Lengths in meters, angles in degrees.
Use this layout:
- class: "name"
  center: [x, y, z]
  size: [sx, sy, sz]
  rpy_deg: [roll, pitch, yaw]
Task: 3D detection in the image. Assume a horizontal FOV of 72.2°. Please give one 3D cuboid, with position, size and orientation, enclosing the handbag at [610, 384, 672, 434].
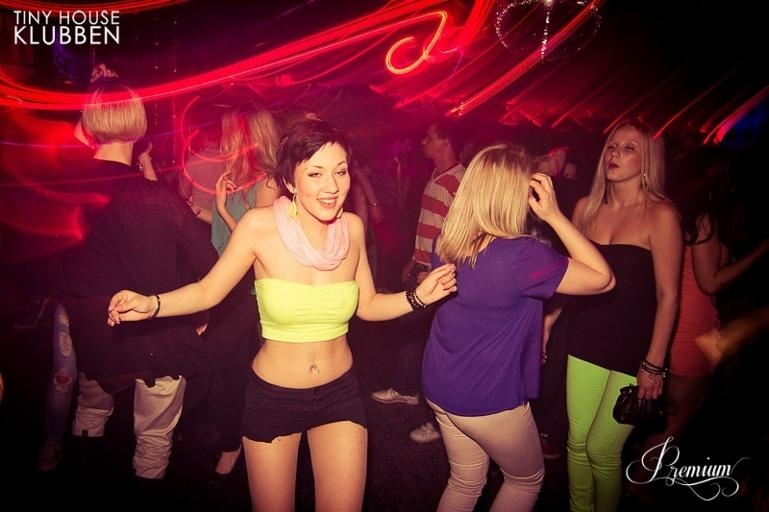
- class: "handbag"
  center: [2.125, 1.263, 4.385]
  size: [0.474, 0.427, 0.237]
  rpy_deg: [11, 15, -8]
